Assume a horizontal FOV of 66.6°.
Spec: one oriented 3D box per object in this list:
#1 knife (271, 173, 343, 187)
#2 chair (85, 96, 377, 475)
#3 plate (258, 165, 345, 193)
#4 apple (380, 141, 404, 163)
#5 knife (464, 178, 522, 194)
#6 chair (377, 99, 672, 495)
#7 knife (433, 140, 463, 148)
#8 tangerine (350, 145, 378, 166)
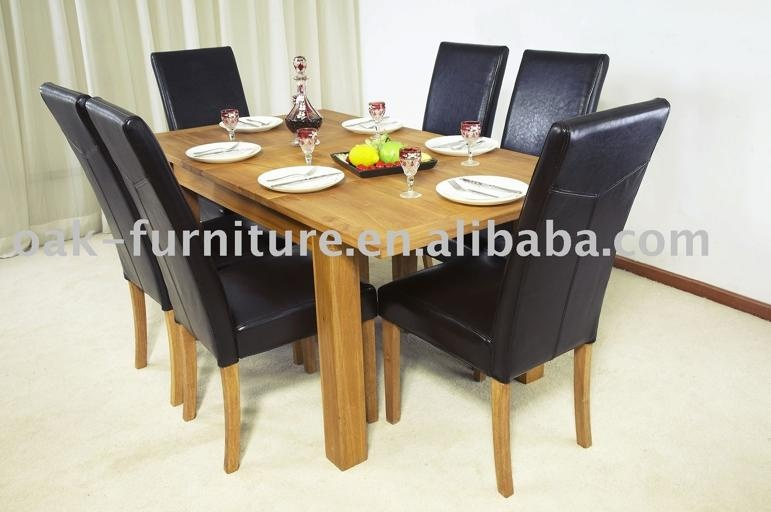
[{"bbox_3d":[-0.306,-0.298,2.275,0.300,0.013,0.095,-6,27,-13],"label":"knife"},{"bbox_3d":[-0.585,0.116,2.444,0.993,1.410,0.709,-10,23,-30],"label":"chair"},{"bbox_3d":[-0.321,-0.305,2.282,0.189,0.019,0.182,-12,27,-25],"label":"plate"},{"bbox_3d":[0.022,-0.428,2.398,0.086,0.084,0.091,6,13,31],"label":"apple"},{"bbox_3d":[0.406,-0.262,2.203,0.228,0.010,0.029,13,32,25],"label":"knife"},{"bbox_3d":[0.486,0.108,2.278,0.707,1.274,0.863,-18,24,-41],"label":"chair"},{"bbox_3d":[0.288,-0.513,2.677,0.172,0.024,0.018,-11,64,-19],"label":"knife"},{"bbox_3d":[-0.091,-0.419,2.434,0.109,0.080,0.083,6,6,33],"label":"tangerine"}]
